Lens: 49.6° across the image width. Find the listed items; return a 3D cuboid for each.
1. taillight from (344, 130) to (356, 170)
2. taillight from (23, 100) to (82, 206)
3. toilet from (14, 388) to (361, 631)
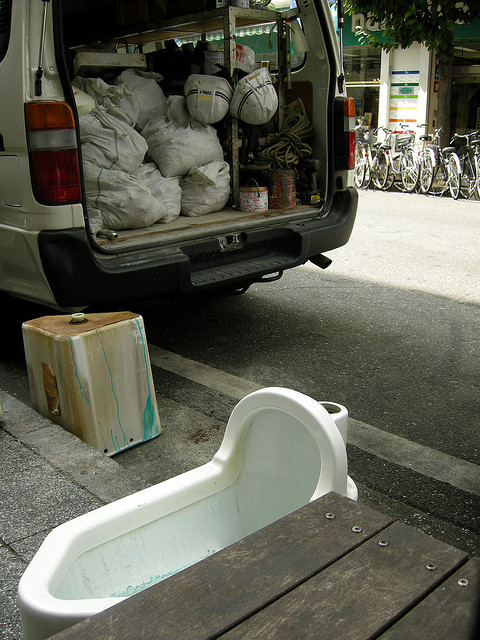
[{"bbox_3d":[0.948,-1.451,4.448,0.130,0.300,0.083,-4,-4,-45],"label":"taillight"},{"bbox_3d":[-1.040,-0.919,2.888,0.258,0.550,0.171,-6,-3,-17],"label":"taillight"},{"bbox_3d":[-0.146,0.483,1.318,0.821,0.486,0.516,-5,-3,-39],"label":"toilet"}]
